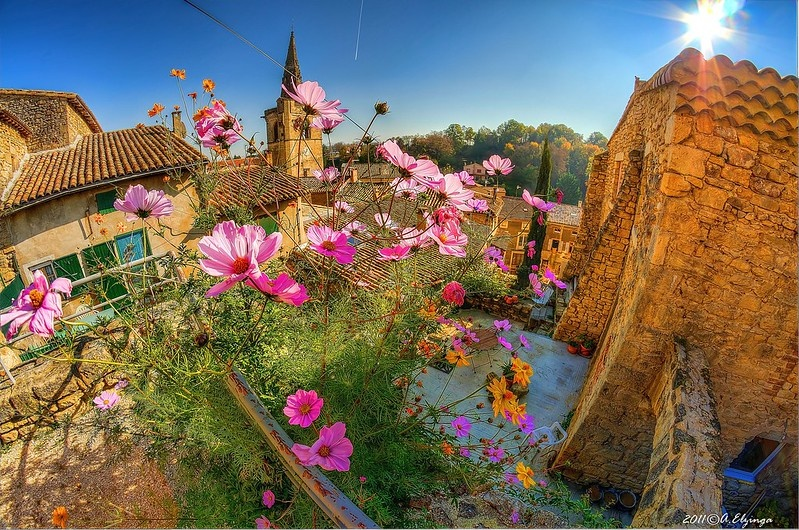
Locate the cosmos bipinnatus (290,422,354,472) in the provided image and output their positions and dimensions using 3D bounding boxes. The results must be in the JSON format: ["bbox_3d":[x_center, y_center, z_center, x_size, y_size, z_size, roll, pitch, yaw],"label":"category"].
[{"bbox_3d":[-0.483,1.176,2.552,0.366,0.346,0.139,-26,-10,9],"label":"cosmos bipinnatus"}]

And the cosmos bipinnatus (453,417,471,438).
[{"bbox_3d":[0.516,1.323,3.226,0.141,0.149,0.197,2,10,7],"label":"cosmos bipinnatus"}]

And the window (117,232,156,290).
[{"bbox_3d":[-2.872,-0.064,4.314,0.063,0.756,1.117,-16,14,-28],"label":"window"}]
